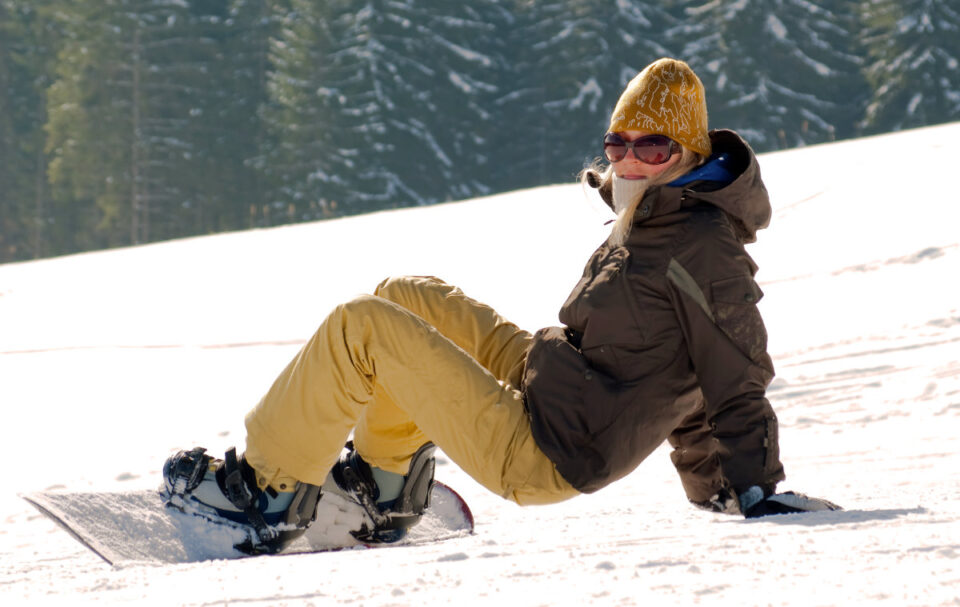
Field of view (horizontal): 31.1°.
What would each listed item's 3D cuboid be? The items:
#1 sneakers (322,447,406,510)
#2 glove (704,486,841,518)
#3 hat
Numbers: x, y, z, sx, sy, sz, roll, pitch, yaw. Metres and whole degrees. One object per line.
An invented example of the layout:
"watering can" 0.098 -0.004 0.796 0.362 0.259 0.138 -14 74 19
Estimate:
"sneakers" -0.609 1.005 9.705 0.397 0.269 0.297 35 -8 6
"glove" 1.543 1.062 9.441 0.810 0.161 0.297 -6 2 23
"hat" 1.015 -1.171 9.727 0.593 0.510 0.671 17 15 30
